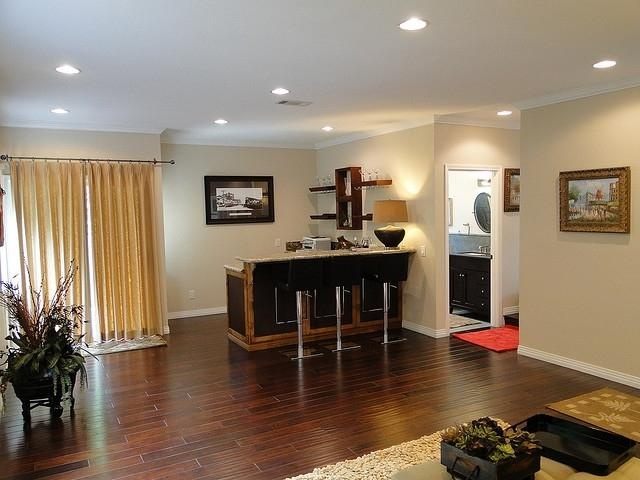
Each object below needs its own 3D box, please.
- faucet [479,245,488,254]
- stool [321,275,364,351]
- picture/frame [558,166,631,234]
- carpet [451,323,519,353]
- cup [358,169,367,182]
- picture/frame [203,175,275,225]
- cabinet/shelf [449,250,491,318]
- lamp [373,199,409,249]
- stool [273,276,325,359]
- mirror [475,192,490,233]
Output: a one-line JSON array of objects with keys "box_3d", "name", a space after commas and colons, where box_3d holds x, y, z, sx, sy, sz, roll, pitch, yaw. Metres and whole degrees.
[{"box_3d": [2.826, 0.166, 7.970, 0.144, 0.150, 0.119, 1, 13, -1], "name": "faucet"}, {"box_3d": [0.323, 0.992, 6.188, 0.372, 0.870, 0.769, -1, 6, 3], "name": "stool"}, {"box_3d": [2.915, -0.422, 4.833, 0.038, 0.770, 0.712, -2, 4, -31], "name": "picture/frame"}, {"box_3d": [2.487, 1.355, 6.363, 1.066, 0.047, 0.906, -5, 7, -31], "name": "carpet"}, {"box_3d": [0.707, -1.043, 7.390, 0.162, 0.208, 0.170, 0, -13, 0], "name": "cup"}, {"box_3d": [-1.477, -0.709, 8.043, 0.873, 0.631, 0.039, -1, 4, -19], "name": "picture/frame"}, {"box_3d": [2.601, 0.727, 7.606, 0.495, 0.943, 0.865, -3, 5, -33], "name": "cabinet/shelf"}, {"box_3d": [1.045, -0.224, 6.719, 0.478, 0.703, 0.566, 1, 6, 18], "name": "lamp"}, {"box_3d": [-0.254, 1.002, 5.913, 0.455, 0.890, 0.775, -3, 6, -18], "name": "stool"}, {"box_3d": [2.894, -0.484, 8.183, 0.117, 0.709, 0.383, -3, 6, -15], "name": "mirror"}]
